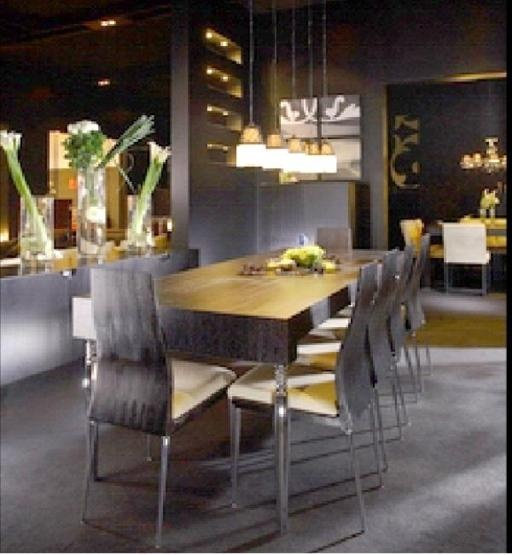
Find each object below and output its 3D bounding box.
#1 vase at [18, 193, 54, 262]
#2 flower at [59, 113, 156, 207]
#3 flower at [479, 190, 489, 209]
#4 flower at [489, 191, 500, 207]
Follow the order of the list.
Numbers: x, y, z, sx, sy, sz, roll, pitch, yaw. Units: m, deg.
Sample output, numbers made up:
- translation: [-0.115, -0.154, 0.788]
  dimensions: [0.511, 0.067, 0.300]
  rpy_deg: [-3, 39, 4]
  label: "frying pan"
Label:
- translation: [-1.254, -0.277, 3.078]
  dimensions: [0.167, 0.365, 0.264]
  rpy_deg: [-2, 5, -27]
  label: "vase"
- translation: [-0.897, -0.851, 3.334]
  dimensions: [0.570, 0.286, 0.356]
  rpy_deg: [-20, 9, 5]
  label: "flower"
- translation: [2.547, -0.876, 6.019]
  dimensions: [0.088, 0.219, 0.061]
  rpy_deg: [1, 4, 20]
  label: "flower"
- translation: [2.649, -0.881, 6.011]
  dimensions: [0.132, 0.183, 0.052]
  rpy_deg: [-2, 5, -25]
  label: "flower"
